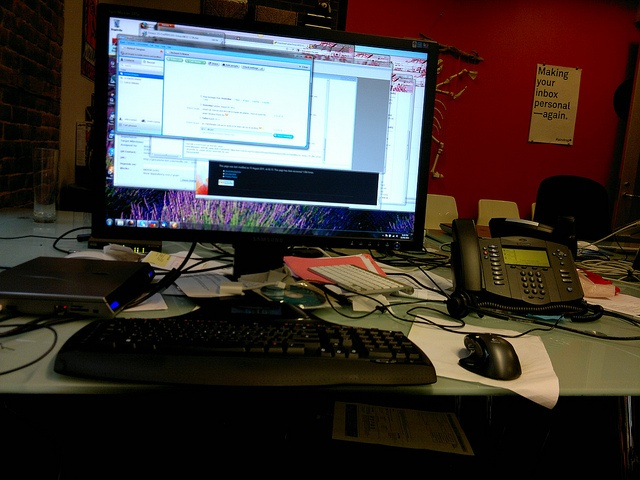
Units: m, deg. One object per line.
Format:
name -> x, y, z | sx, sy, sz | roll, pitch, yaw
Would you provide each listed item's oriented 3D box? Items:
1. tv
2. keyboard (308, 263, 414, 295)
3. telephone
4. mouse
tv -> -0.132, -0.270, 1.397 | 0.871, 0.572, 0.049 | 3, 9, -7
keyboard -> 0.112, 0.118, 1.584 | 0.218, 0.043, 0.292 | -1, 12, -29
telephone -> 0.581, 0.070, 1.529 | 0.425, 0.209, 0.344 | 0, 12, 5
mouse -> 0.387, 0.257, 1.277 | 0.153, 0.087, 0.145 | 5, 8, 9
